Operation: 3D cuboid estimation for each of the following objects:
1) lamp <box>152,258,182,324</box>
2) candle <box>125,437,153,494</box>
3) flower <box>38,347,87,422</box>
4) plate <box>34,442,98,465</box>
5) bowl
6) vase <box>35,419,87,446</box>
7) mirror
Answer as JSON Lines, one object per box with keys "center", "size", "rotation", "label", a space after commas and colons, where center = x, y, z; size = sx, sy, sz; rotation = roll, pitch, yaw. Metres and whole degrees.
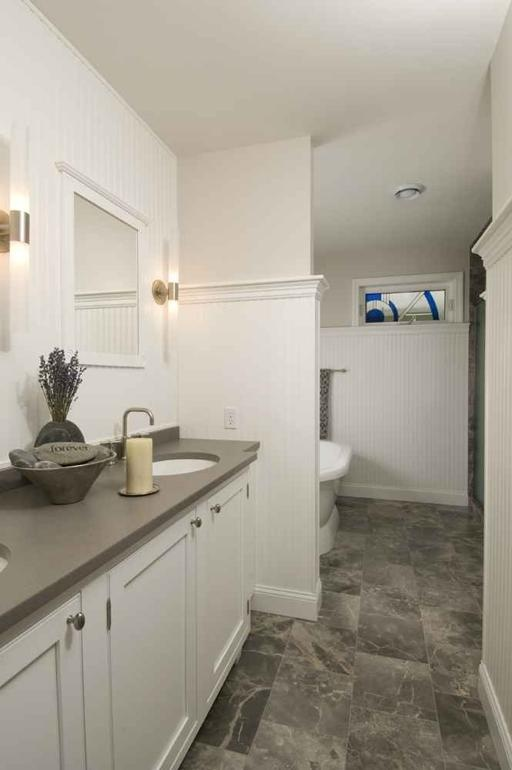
{"center": [-0.420, -0.431, 2.550], "size": [0.089, 0.313, 0.129], "rotation": [3, 13, 12], "label": "lamp"}
{"center": [-0.334, 0.233, 1.557], "size": [0.085, 0.168, 0.091], "rotation": [0, 22, -14], "label": "candle"}
{"center": [-0.622, 0.001, 1.764], "size": [0.134, 0.240, 0.287], "rotation": [-1, 5, -18], "label": "flower"}
{"center": [-0.497, 0.180, 1.450], "size": [0.098, 0.031, 0.076], "rotation": [7, 3, -24], "label": "plate"}
{"center": [-0.523, 0.236, 1.480], "size": [0.261, 0.152, 0.266], "rotation": [-3, 4, 0], "label": "bowl"}
{"center": [-0.579, 0.121, 1.622], "size": [0.097, 0.095, 0.099], "rotation": [1, -2, -34], "label": "vase"}
{"center": [-0.544, -0.515, 2.045], "size": [0.393, 0.459, 0.019], "rotation": [-5, 18, -38], "label": "mirror"}
